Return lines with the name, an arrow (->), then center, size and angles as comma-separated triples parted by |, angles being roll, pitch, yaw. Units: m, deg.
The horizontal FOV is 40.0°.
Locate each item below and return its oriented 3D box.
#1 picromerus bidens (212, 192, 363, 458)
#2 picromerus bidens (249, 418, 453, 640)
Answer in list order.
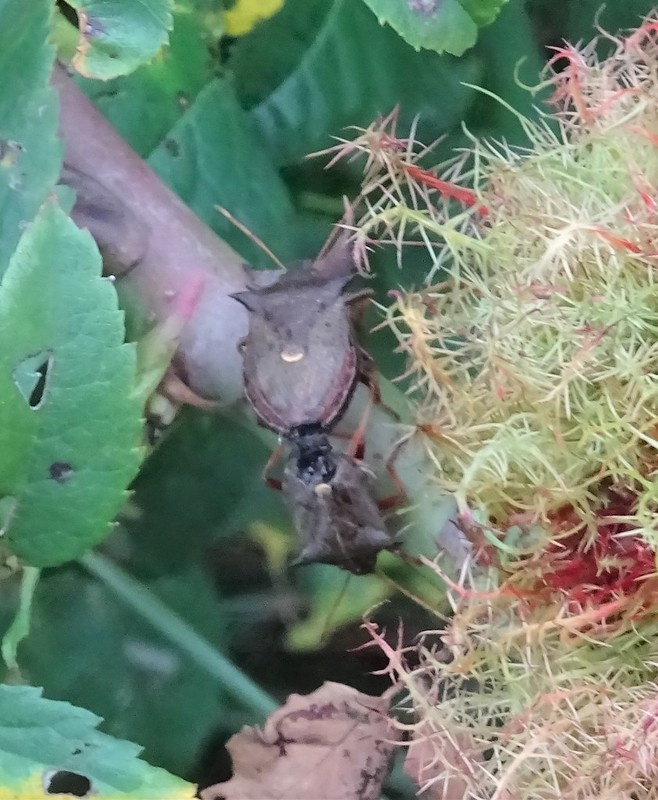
picromerus bidens -> -0.023, -0.050, 0.729 | 0.165, 0.063, 0.177 | -2, 81, 3
picromerus bidens -> 0.024, 0.112, 0.830 | 0.166, 0.176, 0.059 | -27, 9, 8
